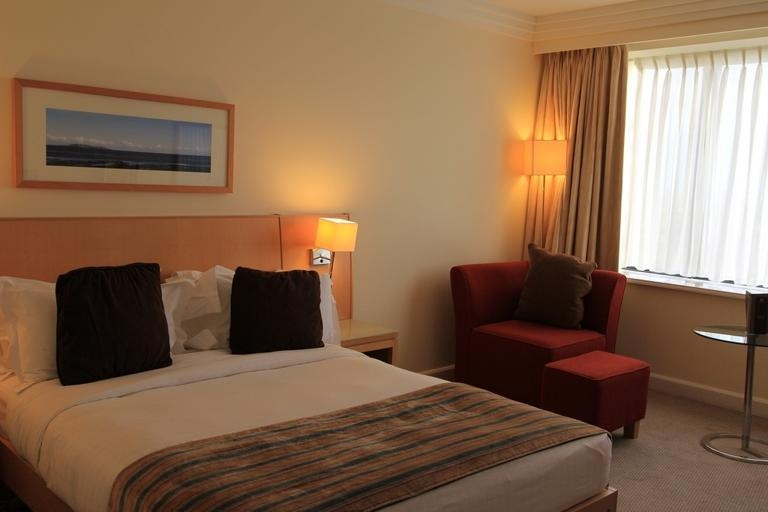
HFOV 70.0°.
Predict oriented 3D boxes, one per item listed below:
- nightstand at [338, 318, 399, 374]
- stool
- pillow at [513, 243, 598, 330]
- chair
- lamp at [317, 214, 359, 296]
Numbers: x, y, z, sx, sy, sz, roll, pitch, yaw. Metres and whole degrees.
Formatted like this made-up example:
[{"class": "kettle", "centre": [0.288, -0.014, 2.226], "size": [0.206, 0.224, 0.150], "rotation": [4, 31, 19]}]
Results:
[{"class": "nightstand", "centre": [-0.165, 0.699, 4.382], "size": [0.376, 0.355, 0.360], "rotation": [-4, 7, -41]}, {"class": "stool", "centre": [1.631, 0.990, 4.291], "size": [0.628, 0.576, 0.683], "rotation": [-8, 10, -42]}, {"class": "pillow", "centre": [1.564, 0.315, 4.998], "size": [0.655, 0.662, 0.261], "rotation": [12, -11, 33]}, {"class": "chair", "centre": [1.383, 0.582, 5.214], "size": [1.304, 1.324, 1.302], "rotation": [3, 1, -43]}, {"class": "lamp", "centre": [-0.384, 0.032, 4.295], "size": [0.262, 0.605, 0.245], "rotation": [8, -5, -43]}]
